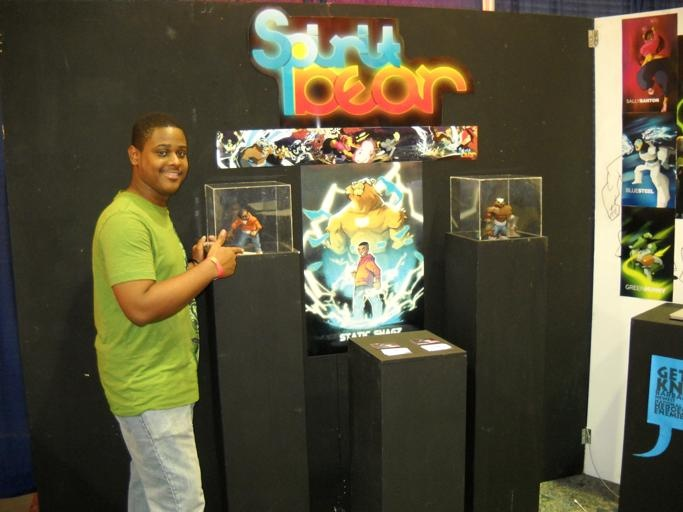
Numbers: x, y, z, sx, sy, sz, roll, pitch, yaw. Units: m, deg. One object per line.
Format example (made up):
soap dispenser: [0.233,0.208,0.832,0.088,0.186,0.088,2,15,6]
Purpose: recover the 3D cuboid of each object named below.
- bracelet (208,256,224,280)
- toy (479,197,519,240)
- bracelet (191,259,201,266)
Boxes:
bracelet: [-0.588,0.057,2.956,0.033,0.088,0.081,-31,10,-26]
toy: [0.908,-0.216,3.643,0.224,0.243,0.095,-3,9,-9]
bracelet: [-0.757,0.034,3.237,0.049,0.037,0.064,2,-6,-18]
